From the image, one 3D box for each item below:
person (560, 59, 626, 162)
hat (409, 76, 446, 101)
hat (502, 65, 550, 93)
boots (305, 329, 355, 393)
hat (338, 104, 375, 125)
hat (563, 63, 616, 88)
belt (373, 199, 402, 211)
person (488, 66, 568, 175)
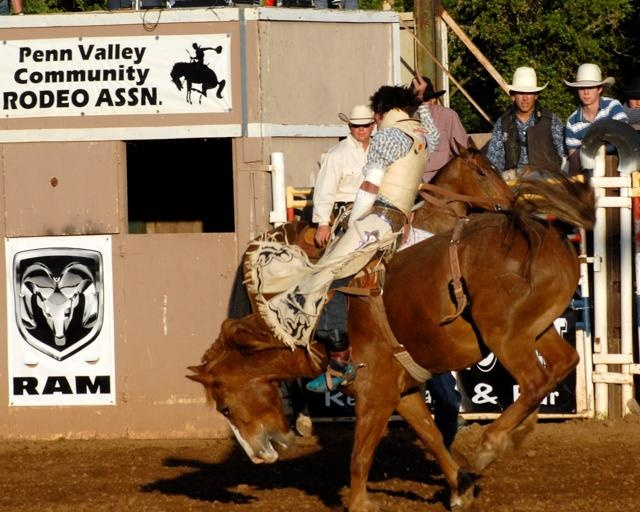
[{"bbox_3d":[3.006,-1.575,16.468,0.649,1.086,0.445,-3,2,10],"label":"person"},{"bbox_3d":[1.149,-1.813,16.285,0.446,0.184,0.516,-4,2,5],"label":"hat"},{"bbox_3d":[2.238,-1.931,16.446,0.352,0.324,0.694,-3,2,7],"label":"hat"},{"bbox_3d":[0.079,0.957,13.675,0.419,0.569,0.191,-2,2,28],"label":"boots"},{"bbox_3d":[0.380,-1.456,15.545,0.320,0.122,0.327,0,4,0],"label":"hat"},{"bbox_3d":[3.027,-1.965,16.714,0.418,0.193,0.497,-1,1,18],"label":"hat"},{"bbox_3d":[0.591,-0.462,13.778,0.173,0.065,0.130,10,0,-43],"label":"belt"},{"bbox_3d":[2.229,-1.393,16.303,0.857,1.261,0.861,-6,22,-4],"label":"person"}]
